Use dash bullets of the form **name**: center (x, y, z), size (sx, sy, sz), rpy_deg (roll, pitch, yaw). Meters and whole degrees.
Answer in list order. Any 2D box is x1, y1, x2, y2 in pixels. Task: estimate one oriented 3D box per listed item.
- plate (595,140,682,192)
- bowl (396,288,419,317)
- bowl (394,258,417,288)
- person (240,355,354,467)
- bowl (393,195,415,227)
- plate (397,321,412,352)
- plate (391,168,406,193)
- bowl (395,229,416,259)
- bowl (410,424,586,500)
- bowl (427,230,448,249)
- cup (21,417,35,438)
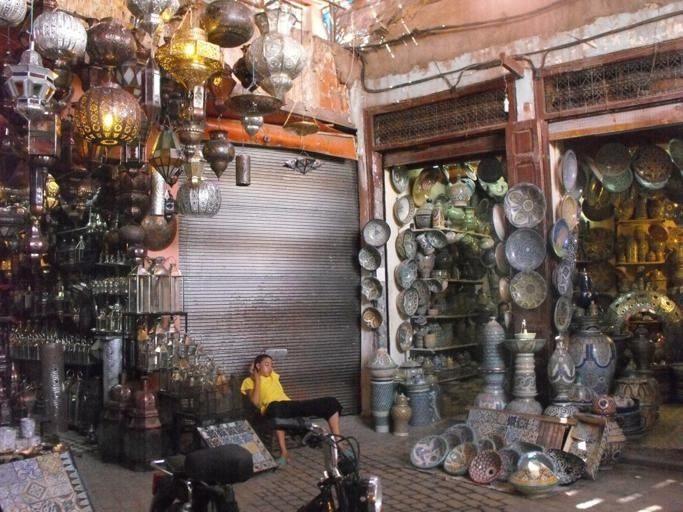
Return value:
- **plate**: center (3.590, -1.086, 7.712), size (0.842, 0.648, 0.274), rpy_deg (-3, 13, 4)
- **bowl**: center (0.834, 0.589, 8.165), size (0.133, 0.343, 0.381), rpy_deg (0, -2, 39)
- **bowl**: center (0.843, 0.232, 8.208), size (0.350, 0.372, 0.109), rpy_deg (5, -5, -41)
- **person**: center (-0.563, 1.452, 6.264), size (0.891, 1.019, 0.742), rpy_deg (-13, -3, 39)
- **bowl**: center (0.832, -0.612, 8.402), size (0.085, 0.367, 0.373), rpy_deg (8, 16, 41)
- **plate**: center (0.813, 1.038, 8.140), size (0.249, 0.405, 0.077), rpy_deg (4, -5, -35)
- **plate**: center (0.766, -1.016, 8.412), size (0.077, 0.292, 0.290), rpy_deg (1, 12, 42)
- **bowl**: center (0.872, -0.149, 8.289), size (0.370, 0.393, 0.117), rpy_deg (5, -5, -42)
- **bowl**: center (1.345, 1.818, 5.798), size (1.074, 0.158, 0.609), rpy_deg (-5, 8, 42)
- **bowl**: center (1.275, -0.233, 8.436), size (0.284, 0.224, 0.141), rpy_deg (1, -4, 7)
- **cup**: center (-2.322, 1.278, 4.691), size (0.128, 0.141, 0.125), rpy_deg (-1, -8, 0)
